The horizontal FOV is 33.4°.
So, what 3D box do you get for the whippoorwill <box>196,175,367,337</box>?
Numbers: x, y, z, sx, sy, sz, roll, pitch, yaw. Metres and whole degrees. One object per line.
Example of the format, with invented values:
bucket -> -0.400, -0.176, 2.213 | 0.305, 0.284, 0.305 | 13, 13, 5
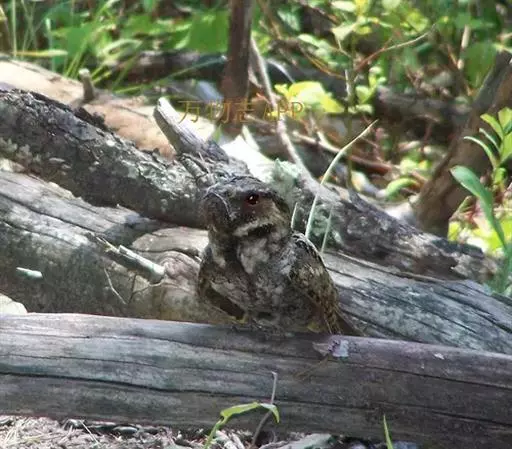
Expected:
whippoorwill -> 0.127, 0.247, 5.074 | 1.121, 0.786, 0.628 | 18, -21, -39
